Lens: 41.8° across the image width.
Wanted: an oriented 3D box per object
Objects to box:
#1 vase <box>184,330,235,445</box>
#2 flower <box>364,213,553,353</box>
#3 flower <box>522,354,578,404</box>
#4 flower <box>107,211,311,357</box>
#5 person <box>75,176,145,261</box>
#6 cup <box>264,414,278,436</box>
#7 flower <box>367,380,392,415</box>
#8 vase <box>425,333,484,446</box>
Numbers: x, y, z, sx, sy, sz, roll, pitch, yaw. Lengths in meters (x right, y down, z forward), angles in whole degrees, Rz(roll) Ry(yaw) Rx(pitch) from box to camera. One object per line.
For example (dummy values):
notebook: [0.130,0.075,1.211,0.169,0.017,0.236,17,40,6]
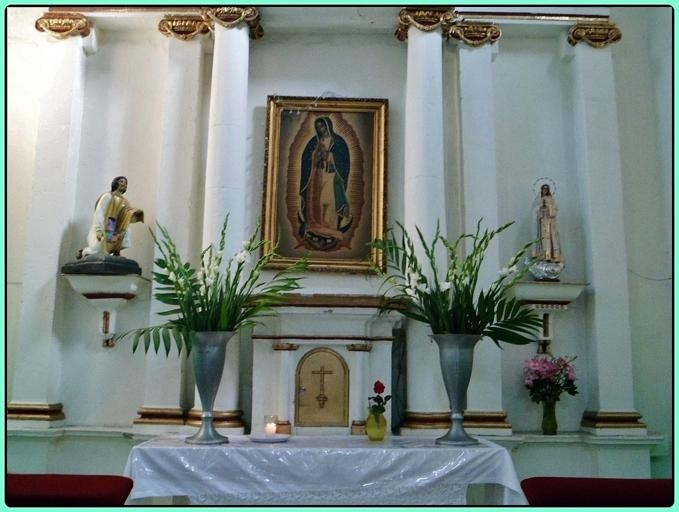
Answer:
vase: [-1.074,1.075,7.332,0.359,0.908,0.264,1,-7,-8]
flower: [1.080,0.241,7.931,1.578,0.996,1.090,6,-19,-3]
flower: [2.043,1.119,8.635,0.530,0.551,0.447,1,-2,-12]
flower: [-1.011,0.419,7.419,0.918,0.570,0.922,12,15,37]
person: [-2.280,-0.341,8.718,0.616,0.830,0.410,-16,-27,14]
cup: [-0.574,1.394,7.337,0.136,0.216,0.136,0,-6,0]
flower: [0.360,1.216,7.676,0.281,0.326,0.263,-7,-12,18]
vase: [0.983,1.103,7.415,0.403,0.910,0.268,-1,-7,8]
